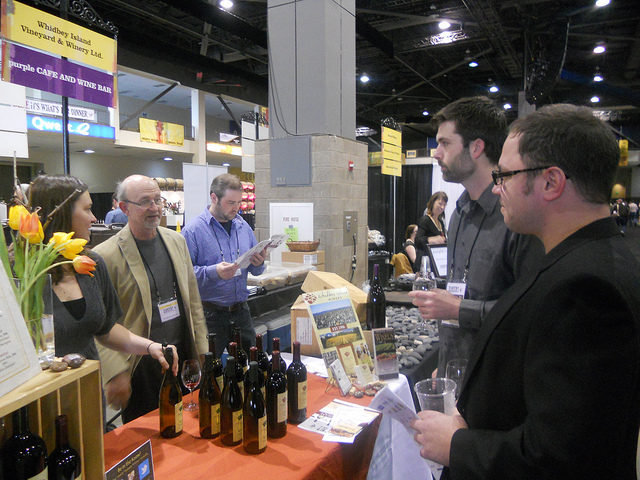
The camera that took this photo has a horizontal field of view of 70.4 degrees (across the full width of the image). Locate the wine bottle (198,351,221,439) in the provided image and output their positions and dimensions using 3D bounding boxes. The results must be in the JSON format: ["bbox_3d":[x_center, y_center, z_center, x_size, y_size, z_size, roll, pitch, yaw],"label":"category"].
[{"bbox_3d":[-0.438,0.615,1.787,0.085,0.307,0.088,-2,-11,0],"label":"wine bottle"}]

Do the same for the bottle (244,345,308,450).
[{"bbox_3d":[-0.168,0.598,1.774,0.083,0.346,0.336,4,8,33],"label":"bottle"}]

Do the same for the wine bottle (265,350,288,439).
[{"bbox_3d":[-0.170,0.591,1.780,0.091,0.337,0.123,1,8,-7],"label":"wine bottle"}]

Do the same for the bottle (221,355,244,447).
[{"bbox_3d":[-0.336,0.644,1.732,0.080,0.258,0.105,0,8,-12],"label":"bottle"}]

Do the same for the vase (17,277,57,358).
[{"bbox_3d":[-0.835,0.247,1.343,0.085,0.269,0.224,-4,9,-33],"label":"vase"}]

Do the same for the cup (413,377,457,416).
[{"bbox_3d":[0.397,0.518,1.485,0.115,0.110,0.133,1,21,37],"label":"cup"}]

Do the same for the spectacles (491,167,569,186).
[{"bbox_3d":[0.573,-0.183,1.318,0.033,0.053,0.168,-3,9,-33],"label":"spectacles"}]

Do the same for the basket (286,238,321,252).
[{"bbox_3d":[-0.172,0.059,4.665,0.346,0.131,0.227,1,7,-5],"label":"basket"}]
